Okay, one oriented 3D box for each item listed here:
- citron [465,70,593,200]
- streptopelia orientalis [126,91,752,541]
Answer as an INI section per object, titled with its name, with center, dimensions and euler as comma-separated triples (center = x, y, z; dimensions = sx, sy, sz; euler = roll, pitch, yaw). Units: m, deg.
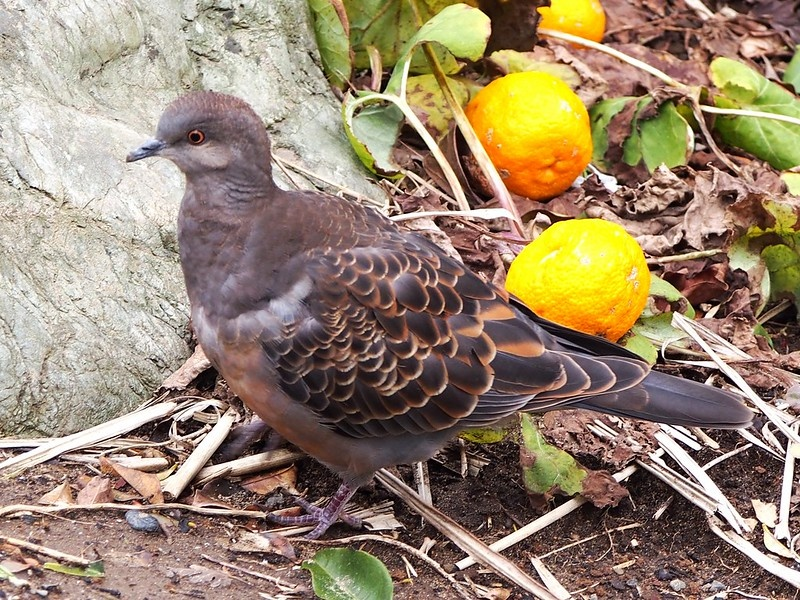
[citron]
center = 0.609, -0.834, 4.723
dimensions = 0.648, 0.560, 0.563
euler = 2, 21, 2
[streptopelia orientalis]
center = 0.384, -0.176, 3.992
dimensions = 2.225, 1.472, 1.299
euler = 7, 22, 26
